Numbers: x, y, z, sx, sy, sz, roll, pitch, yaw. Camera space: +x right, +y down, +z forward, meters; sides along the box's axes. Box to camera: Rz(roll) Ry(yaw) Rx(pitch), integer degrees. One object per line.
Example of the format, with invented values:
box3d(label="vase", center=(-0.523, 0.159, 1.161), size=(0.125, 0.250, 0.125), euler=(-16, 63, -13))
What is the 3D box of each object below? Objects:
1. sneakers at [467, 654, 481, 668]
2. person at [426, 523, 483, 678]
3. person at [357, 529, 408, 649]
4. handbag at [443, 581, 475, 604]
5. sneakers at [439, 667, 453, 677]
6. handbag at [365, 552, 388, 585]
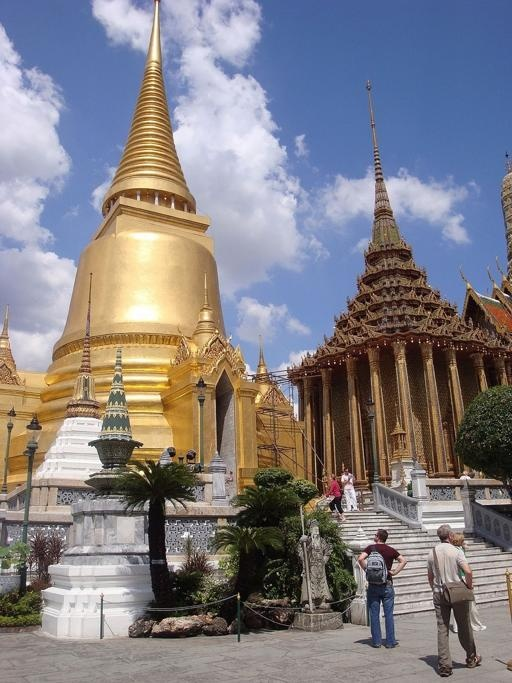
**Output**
box3d(label="sneakers", center=(1.905, 2.772, 4.627), size=(0.071, 0.076, 0.190), euler=(-8, -14, 39))
box3d(label="person", center=(1.787, 2.294, 4.820), size=(0.397, 1.181, 1.051), euler=(-7, -20, 16))
box3d(label="person", center=(1.423, 2.724, 5.844), size=(0.475, 1.239, 1.168), euler=(-5, -20, 11))
box3d(label="handbag", center=(1.769, 2.188, 4.638), size=(0.238, 0.191, 0.088), euler=(2, -28, -12))
box3d(label="sneakers", center=(1.515, 2.637, 4.246), size=(0.076, 0.067, 0.130), euler=(-11, -21, 25))
box3d(label="handbag", center=(1.284, 2.387, 5.604), size=(0.306, 0.368, 0.221), euler=(-4, -18, 10))
